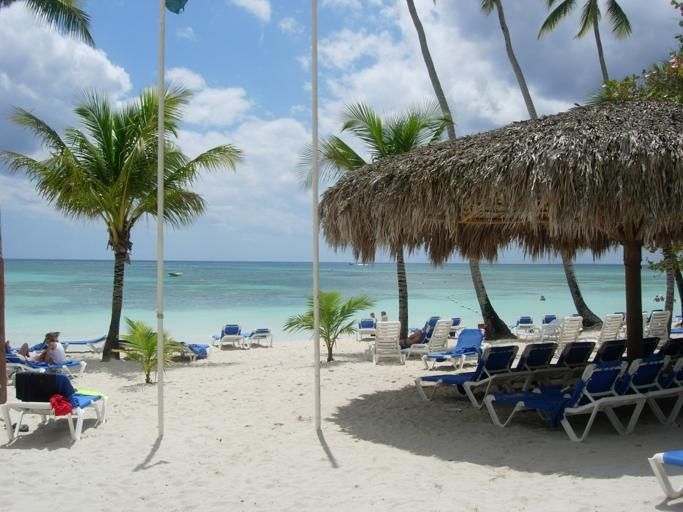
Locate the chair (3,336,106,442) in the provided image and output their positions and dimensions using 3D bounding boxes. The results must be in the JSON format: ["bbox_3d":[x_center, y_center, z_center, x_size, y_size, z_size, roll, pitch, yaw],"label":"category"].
[{"bbox_3d":[-4.299,2.066,9.916,0.967,1.323,1.728,2,-2,-2],"label":"chair"}]
